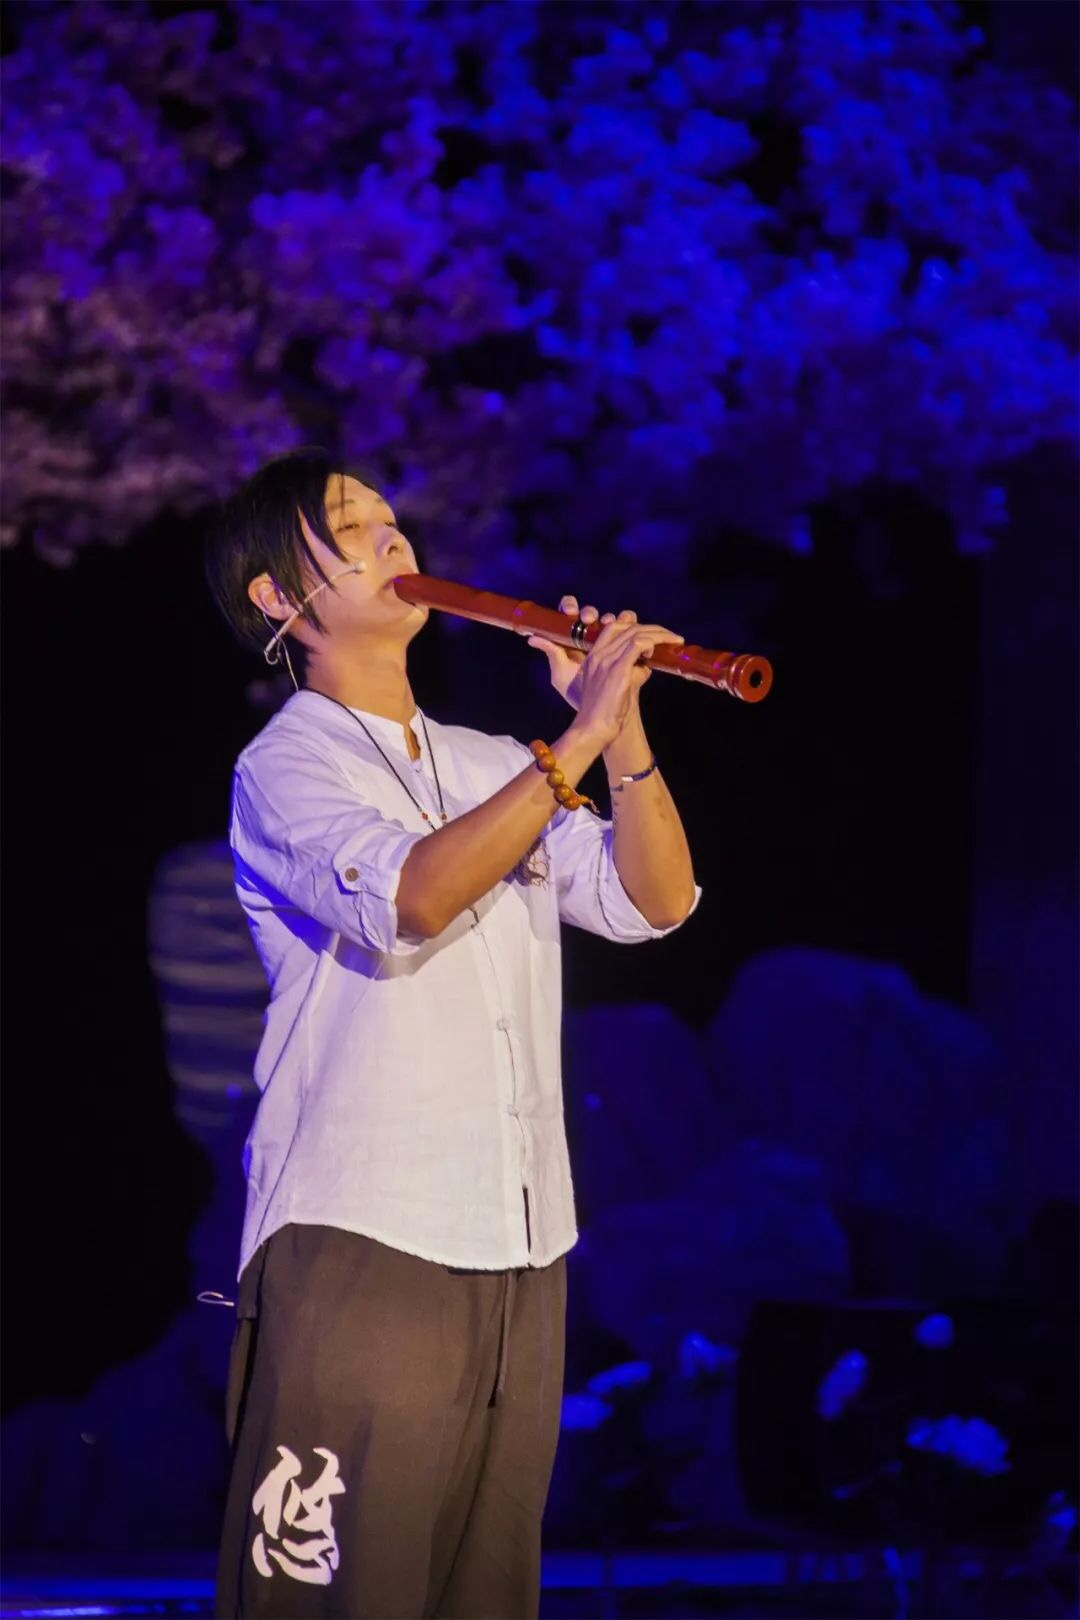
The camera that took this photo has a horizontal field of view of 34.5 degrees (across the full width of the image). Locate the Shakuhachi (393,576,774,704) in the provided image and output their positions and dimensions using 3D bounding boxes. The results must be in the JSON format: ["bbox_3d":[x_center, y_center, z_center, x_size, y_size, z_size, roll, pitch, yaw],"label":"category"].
[{"bbox_3d":[0.045,-0.194,2.018,0.545,0.078,0.078,18,49,35],"label":"Shakuhachi"}]
